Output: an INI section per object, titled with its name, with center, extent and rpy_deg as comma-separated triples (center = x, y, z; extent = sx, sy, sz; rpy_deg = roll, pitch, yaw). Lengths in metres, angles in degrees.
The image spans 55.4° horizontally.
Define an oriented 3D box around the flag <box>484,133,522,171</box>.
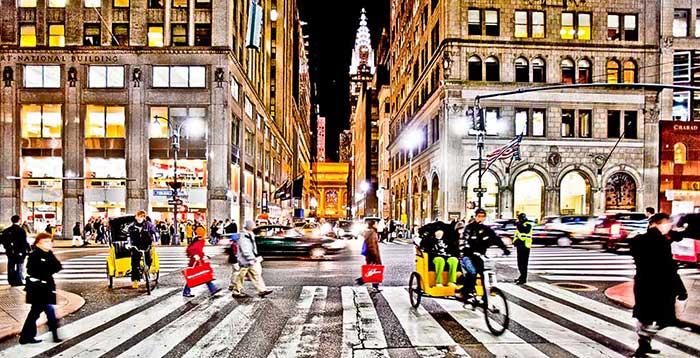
[flag]
center = 18.154, -3.483, 78.755
extent = 4.892, 4.158, 10.477
rpy_deg = -3, -4, 14
